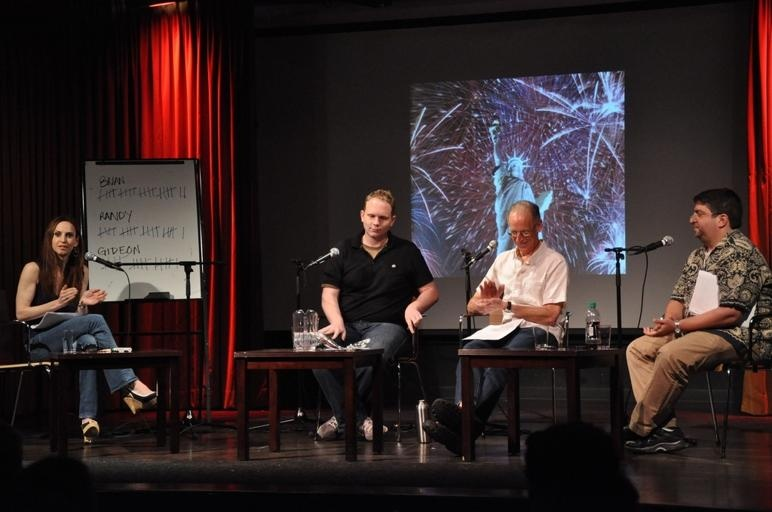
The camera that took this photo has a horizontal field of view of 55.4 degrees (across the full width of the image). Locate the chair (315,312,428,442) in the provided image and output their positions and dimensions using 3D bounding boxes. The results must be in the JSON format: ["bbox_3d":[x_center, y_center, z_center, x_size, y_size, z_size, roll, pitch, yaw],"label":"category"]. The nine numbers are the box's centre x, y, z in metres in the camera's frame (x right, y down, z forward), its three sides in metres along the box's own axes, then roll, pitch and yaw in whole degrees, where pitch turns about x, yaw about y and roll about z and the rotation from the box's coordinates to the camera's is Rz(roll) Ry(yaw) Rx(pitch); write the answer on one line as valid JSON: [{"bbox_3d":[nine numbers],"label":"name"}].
[{"bbox_3d":[-0.100,0.859,5.425,0.785,0.768,0.798,-1,2,10],"label":"chair"}]

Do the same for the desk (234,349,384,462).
[{"bbox_3d":[-0.508,0.985,4.912,1.042,0.685,1.017,4,-10,-28],"label":"desk"}]

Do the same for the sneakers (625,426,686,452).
[{"bbox_3d":[1.738,1.203,4.830,0.431,0.200,0.152,2,-13,-1],"label":"sneakers"}]

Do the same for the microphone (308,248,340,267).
[{"bbox_3d":[-0.541,0.006,6.446,0.231,0.074,0.063,-37,-18,11],"label":"microphone"}]

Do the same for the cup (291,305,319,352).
[{"bbox_3d":[-0.522,0.486,4.816,0.162,0.259,0.331,-1,0,-6],"label":"cup"}]

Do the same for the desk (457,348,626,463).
[{"bbox_3d":[0.991,0.892,4.662,0.900,0.698,0.923,-4,-2,19],"label":"desk"}]

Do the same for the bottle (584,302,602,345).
[{"bbox_3d":[1.358,0.438,4.817,0.091,0.242,0.303,-1,0,16],"label":"bottle"}]

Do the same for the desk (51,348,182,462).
[{"bbox_3d":[-1.898,0.988,5.203,0.852,0.661,0.812,2,-2,-27],"label":"desk"}]

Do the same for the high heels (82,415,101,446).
[{"bbox_3d":[-2.140,1.275,5.370,0.102,0.116,0.271,-6,-32,-30],"label":"high heels"}]

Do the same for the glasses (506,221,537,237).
[{"bbox_3d":[0.946,-0.190,5.085,0.174,0.076,0.231,-2,-5,24],"label":"glasses"}]

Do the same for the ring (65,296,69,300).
[{"bbox_3d":[-2.485,0.321,5.728,0.024,0.023,0.016,7,2,0],"label":"ring"}]

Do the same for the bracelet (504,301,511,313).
[{"bbox_3d":[0.795,0.329,4.796,0.046,0.060,0.014,7,-1,-9],"label":"bracelet"}]

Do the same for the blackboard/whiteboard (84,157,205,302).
[{"bbox_3d":[-2.057,-0.307,6.235,0.970,0.077,1.220,-2,-43,-19],"label":"blackboard/whiteboard"}]

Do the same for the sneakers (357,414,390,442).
[{"bbox_3d":[-0.084,1.222,5.183,0.111,0.159,0.244,-2,-2,-14],"label":"sneakers"}]

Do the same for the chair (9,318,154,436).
[{"bbox_3d":[-2.313,0.860,5.715,0.817,1.137,1.161,-1,0,-16],"label":"chair"}]

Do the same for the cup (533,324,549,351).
[{"bbox_3d":[0.994,0.519,4.724,0.128,0.185,0.119,0,-12,0],"label":"cup"}]

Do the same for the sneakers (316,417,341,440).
[{"bbox_3d":[-0.405,1.270,5.380,0.090,0.107,0.234,-9,7,23],"label":"sneakers"}]
